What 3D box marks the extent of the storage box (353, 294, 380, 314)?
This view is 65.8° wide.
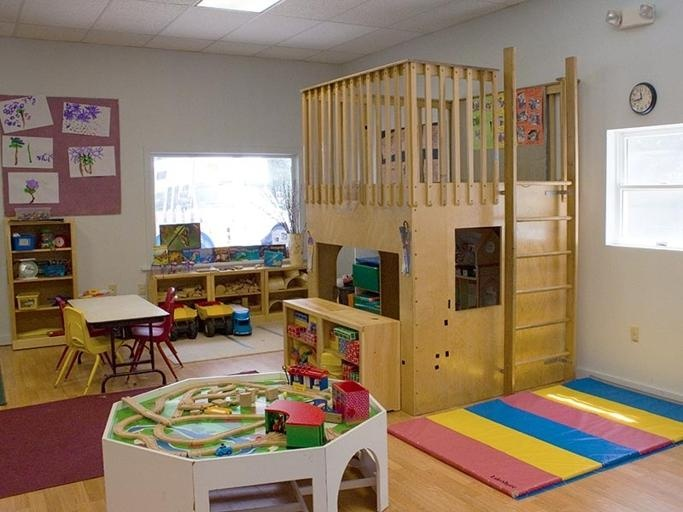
[{"bbox_3d":[0.288,0.550,6.051,0.166,0.210,0.310,0,3,-30],"label":"storage box"}]

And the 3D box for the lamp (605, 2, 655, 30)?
[{"bbox_3d":[2.681,-2.233,4.915,0.160,0.211,0.385,-10,14,-38],"label":"lamp"}]

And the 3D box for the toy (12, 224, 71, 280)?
[{"bbox_3d":[-3.952,-0.039,6.915,0.706,0.816,0.261,-2,2,-38],"label":"toy"}]

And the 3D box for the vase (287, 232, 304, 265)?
[{"bbox_3d":[-0.731,-0.105,8.411,0.202,0.479,0.320,-3,11,-10],"label":"vase"}]

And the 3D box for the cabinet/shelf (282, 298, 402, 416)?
[{"bbox_3d":[-0.063,0.977,5.365,0.444,0.852,1.441,-4,6,-37],"label":"cabinet/shelf"}]

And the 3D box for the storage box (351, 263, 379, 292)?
[{"bbox_3d":[0.286,0.264,6.223,0.275,0.328,0.508,-1,4,-28],"label":"storage box"}]

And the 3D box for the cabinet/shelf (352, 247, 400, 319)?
[{"bbox_3d":[0.396,0.343,5.972,0.444,0.777,0.790,-1,3,-25],"label":"cabinet/shelf"}]

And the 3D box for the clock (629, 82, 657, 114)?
[{"bbox_3d":[2.806,-1.462,4.934,0.238,0.300,0.099,6,13,35],"label":"clock"}]
